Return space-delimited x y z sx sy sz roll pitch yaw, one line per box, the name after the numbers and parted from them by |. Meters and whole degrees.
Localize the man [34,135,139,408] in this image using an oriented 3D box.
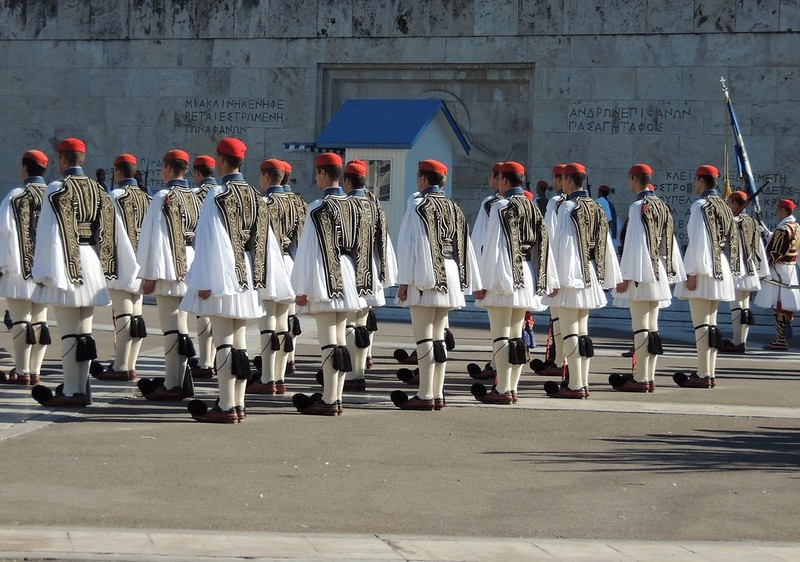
-5.657 -0.156 35.231 1.675 4.718 0.568 2 -5 -30 | man
